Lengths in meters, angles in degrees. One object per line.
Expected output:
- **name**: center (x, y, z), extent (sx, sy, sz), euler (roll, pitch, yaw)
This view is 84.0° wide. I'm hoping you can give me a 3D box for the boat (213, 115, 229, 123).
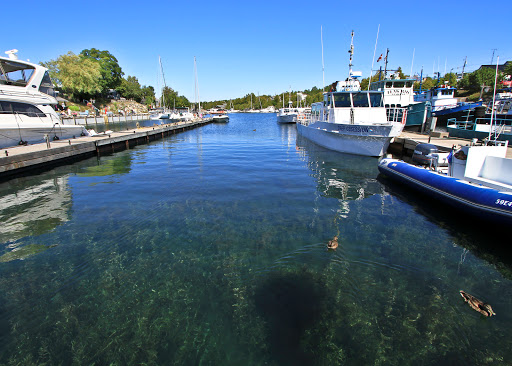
- **boat**: center (-8.084, -14.518, 65.280), extent (3.124, 1.588, 4.385), euler (-5, 16, -14)
